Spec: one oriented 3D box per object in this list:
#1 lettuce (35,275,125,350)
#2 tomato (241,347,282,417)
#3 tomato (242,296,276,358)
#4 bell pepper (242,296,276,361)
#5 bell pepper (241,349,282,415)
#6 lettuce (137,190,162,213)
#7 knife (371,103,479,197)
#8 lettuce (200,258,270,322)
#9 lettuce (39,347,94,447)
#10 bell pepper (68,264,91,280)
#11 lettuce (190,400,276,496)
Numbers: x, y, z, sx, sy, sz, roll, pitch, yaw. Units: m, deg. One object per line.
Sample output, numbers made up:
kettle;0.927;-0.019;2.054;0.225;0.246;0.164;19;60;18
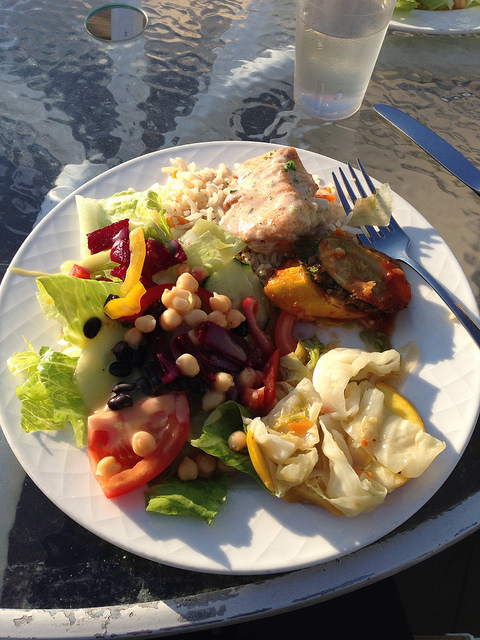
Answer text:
lettuce;-0.568;-0.061;2.048;0.318;0.121;0.268;19;81;-36
tomato;0.090;0.240;2.237;0.153;0.086;0.254;30;86;34
tomato;0.065;0.024;2.379;0.169;0.201;0.239;-1;31;0
bell pepper;0.069;0.031;2.428;0.092;0.090;0.297;-26;88;-44
bell pepper;0.101;0.232;2.258;0.146;0.089;0.268;17;65;39
lettuce;-0.410;-0.550;2.653;0.106;0.041;0.115;0;51;-16
knife;0.917;-0.824;2.892;0.138;0.075;0.905;-32;50;-9
lettuce;-0.029;-0.133;2.490;0.287;0.072;0.285;53;47;2
lettuce;-0.624;0.266;2.044;0.204;0.091;0.305;-25;86;-48
bell pepper;-0.623;-0.181;2.246;0.070;0.031;0.076;28;46;-14
lettuce;-0.057;0.394;2.028;0.281;0.093;0.383;-23;19;-15
